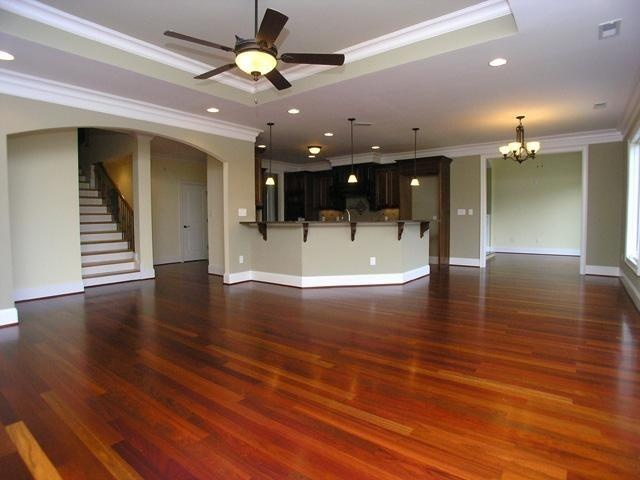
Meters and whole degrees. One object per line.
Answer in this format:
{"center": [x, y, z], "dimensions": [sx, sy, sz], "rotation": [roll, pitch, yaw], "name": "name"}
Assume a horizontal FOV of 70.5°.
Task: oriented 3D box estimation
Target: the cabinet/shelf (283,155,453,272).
{"center": [1.090, -0.822, 10.947], "dimensions": [4.110, 2.369, 0.783], "rotation": [6, 12, 30], "name": "cabinet/shelf"}

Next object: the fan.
{"center": [-0.665, -2.040, 4.596], "dimensions": [1.318, 0.877, 1.376], "rotation": [-10, 14, -41], "name": "fan"}

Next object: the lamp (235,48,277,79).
{"center": [-0.635, -1.733, 4.455], "dimensions": [0.390, 0.192, 0.295], "rotation": [-2, 11, -12], "name": "lamp"}
